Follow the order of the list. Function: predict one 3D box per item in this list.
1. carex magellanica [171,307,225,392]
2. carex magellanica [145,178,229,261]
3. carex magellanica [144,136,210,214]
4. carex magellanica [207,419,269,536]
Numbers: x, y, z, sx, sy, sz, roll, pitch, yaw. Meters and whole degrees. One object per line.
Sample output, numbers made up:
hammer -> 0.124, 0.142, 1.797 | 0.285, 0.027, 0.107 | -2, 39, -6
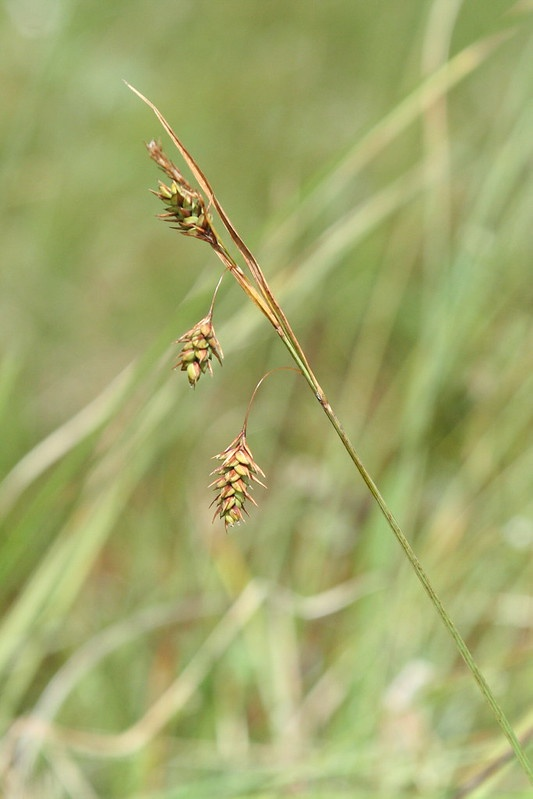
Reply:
carex magellanica -> -0.057, -0.047, 0.745 | 0.046, 0.041, 0.056 | 12, -61, 10
carex magellanica -> -0.060, -0.148, 0.707 | 0.034, 0.022, 0.075 | -11, -49, 43
carex magellanica -> -0.061, -0.178, 0.715 | 0.026, 0.030, 0.085 | -33, -51, 21
carex magellanica -> -0.027, 0.073, 0.780 | 0.053, 0.054, 0.083 | 7, -82, -13
